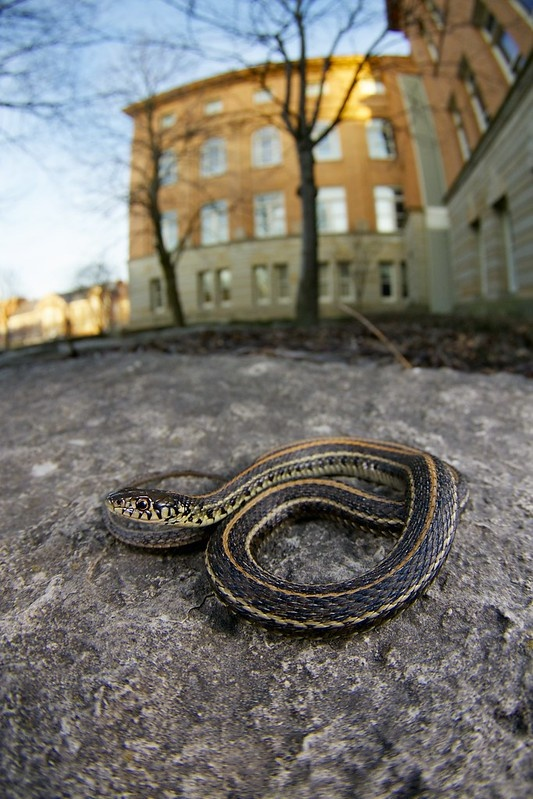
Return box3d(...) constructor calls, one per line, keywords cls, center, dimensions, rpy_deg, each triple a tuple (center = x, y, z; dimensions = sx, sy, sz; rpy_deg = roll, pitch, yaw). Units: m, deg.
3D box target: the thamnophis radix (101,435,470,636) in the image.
box3d(cls="thamnophis radix", center=(0.218, 0.555, 2.942), dimensions=(1.486, 0.431, 1.693), rpy_deg=(5, 8, 33))
